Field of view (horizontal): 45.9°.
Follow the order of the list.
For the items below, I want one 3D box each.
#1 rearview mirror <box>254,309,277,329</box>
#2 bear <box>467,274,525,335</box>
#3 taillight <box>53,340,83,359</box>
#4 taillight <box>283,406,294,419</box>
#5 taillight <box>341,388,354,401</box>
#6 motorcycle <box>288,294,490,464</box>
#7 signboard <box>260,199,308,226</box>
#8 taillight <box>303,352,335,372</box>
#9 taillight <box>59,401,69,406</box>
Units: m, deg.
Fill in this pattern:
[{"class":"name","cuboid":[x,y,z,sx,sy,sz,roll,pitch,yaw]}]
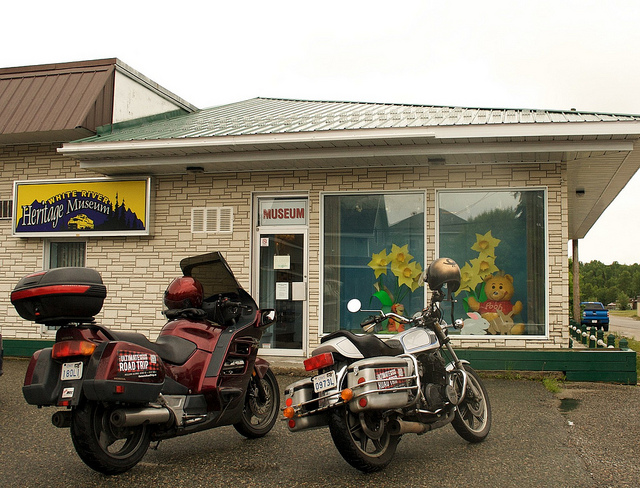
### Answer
[{"class":"rearview mirror","cuboid":[-0.664,0.929,9.372,0.168,0.127,0.279,-3,8,20]},{"class":"bear","cuboid":[3.201,1.060,13.539,1.068,1.078,0.753,5,10,19]},{"class":"taillight","cuboid":[-2.692,1.110,7.991,0.347,0.189,0.064,1,3,17]},{"class":"taillight","cuboid":[-0.340,1.830,8.193,0.106,0.113,0.119,4,-1,26]},{"class":"taillight","cuboid":[0.290,1.593,7.941,0.095,0.101,0.129,-6,-3,-3]},{"class":"motorcycle","cuboid":[0.835,1.506,8.581,2.386,1.711,0.721,-3,4,-36]},{"class":"signboard","cuboid":[-0.702,-0.596,14.363,0.931,0.497,0.109,1,3,14]},{"class":"taillight","cuboid":[-0.005,1.284,8.293,0.374,0.235,0.220,1,4,23]},{"class":"taillight","cuboid":[-2.706,1.672,7.917,0.073,0.069,0.018,7,-5,-16]}]
